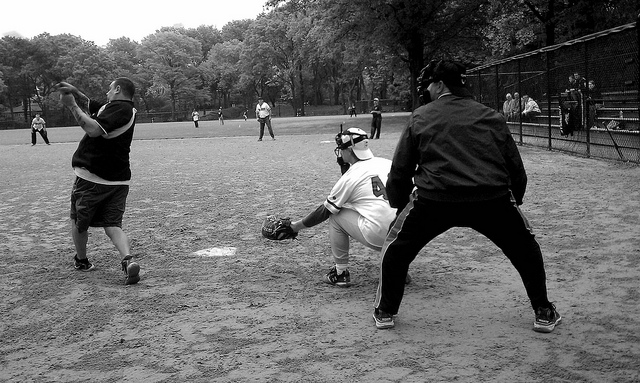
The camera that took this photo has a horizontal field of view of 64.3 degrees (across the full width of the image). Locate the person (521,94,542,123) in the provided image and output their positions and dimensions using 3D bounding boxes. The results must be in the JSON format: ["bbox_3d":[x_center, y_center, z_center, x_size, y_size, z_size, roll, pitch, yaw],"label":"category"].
[{"bbox_3d":[7.578,-2.966,18.339,0.716,1.000,0.598,-10,12,15],"label":"person"}]

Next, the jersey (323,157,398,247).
[{"bbox_3d":[0.532,0.044,5.932,1.022,0.697,0.914,0,43,-31],"label":"jersey"}]

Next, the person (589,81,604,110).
[{"bbox_3d":[7.537,-2.636,13.894,0.376,0.766,0.719,3,13,27],"label":"person"}]

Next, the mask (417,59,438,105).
[{"bbox_3d":[1.089,-1.122,5.221,0.241,0.398,0.304,11,7,1],"label":"mask"}]

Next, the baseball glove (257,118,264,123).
[{"bbox_3d":[-2.839,-3.484,24.787,0.225,0.229,0.319,-4,11,-10],"label":"baseball glove"}]

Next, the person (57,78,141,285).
[{"bbox_3d":[-2.830,-0.182,6.670,1.027,2.563,1.403,-7,12,-19],"label":"person"}]

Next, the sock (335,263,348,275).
[{"bbox_3d":[0.263,0.932,6.125,0.143,0.125,0.132,0,4,1],"label":"sock"}]

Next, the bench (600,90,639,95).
[{"bbox_3d":[7.750,-2.564,13.163,0.231,0.077,0.955,-5,12,-15],"label":"bench"}]

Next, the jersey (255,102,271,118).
[{"bbox_3d":[-2.721,-3.959,24.526,0.564,0.747,0.642,-5,12,-12],"label":"jersey"}]

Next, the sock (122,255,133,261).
[{"bbox_3d":[-2.442,0.840,6.470,0.118,0.067,0.117,-8,12,-25],"label":"sock"}]

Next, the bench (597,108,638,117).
[{"bbox_3d":[7.803,-2.087,13.378,0.583,0.249,1.147,0,11,13],"label":"bench"}]

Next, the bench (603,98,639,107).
[{"bbox_3d":[7.882,-2.335,13.271,0.578,0.235,1.006,-5,11,-11],"label":"bench"}]

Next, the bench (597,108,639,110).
[{"bbox_3d":[7.772,-2.180,13.368,0.296,0.061,1.279,-5,12,-13],"label":"bench"}]

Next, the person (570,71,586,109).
[{"bbox_3d":[7.525,-3.007,14.970,0.333,1.007,0.972,1,12,18],"label":"person"}]

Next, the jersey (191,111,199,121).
[{"bbox_3d":[-10.979,-6.718,45.039,0.353,0.834,1.116,-5,12,-12],"label":"jersey"}]

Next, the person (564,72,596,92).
[{"bbox_3d":[7.565,-3.256,15.048,0.900,0.262,0.811,12,56,37],"label":"person"}]

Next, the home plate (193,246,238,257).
[{"bbox_3d":[-1.509,0.869,7.366,0.590,0.025,0.369,-2,11,2],"label":"home plate"}]

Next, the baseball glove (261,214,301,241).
[{"bbox_3d":[-0.462,0.465,6.396,0.480,0.227,0.228,13,27,6],"label":"baseball glove"}]
